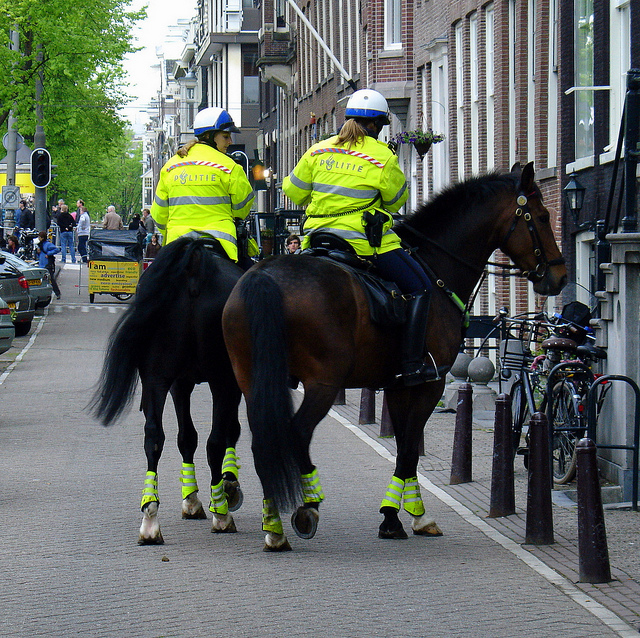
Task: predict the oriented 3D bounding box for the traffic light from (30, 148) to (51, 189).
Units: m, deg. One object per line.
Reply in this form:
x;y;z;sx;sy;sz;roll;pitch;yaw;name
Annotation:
-7.571;-4.114;32.746;0.498;1.027;1.091;-2;8;-15;traffic light

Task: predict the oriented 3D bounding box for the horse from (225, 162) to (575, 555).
0.416;0.304;8.040;1.066;2.636;2.528;6;9;39;horse

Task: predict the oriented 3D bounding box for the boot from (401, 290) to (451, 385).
0.682;0.116;8.070;0.212;0.589;0.454;3;8;28;boot

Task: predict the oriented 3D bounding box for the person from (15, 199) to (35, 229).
-9.847;-3.529;40.416;0.556;0.995;2.214;-2;8;-13;person

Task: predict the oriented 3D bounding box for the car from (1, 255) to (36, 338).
-6.282;-0.422;25.579;1.027;0.994;2.249;-3;7;-15;car

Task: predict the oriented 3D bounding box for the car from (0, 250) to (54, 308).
-7.085;-1.004;29.795;0.958;0.737;2.131;-12;24;-31;car

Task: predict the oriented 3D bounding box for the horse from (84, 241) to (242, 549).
-1.057;0.500;8.254;1.030;2.078;1.497;-1;7;-4;horse

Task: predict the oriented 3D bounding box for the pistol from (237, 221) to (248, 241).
-0.576;-0.662;9.017;0.059;0.144;0.127;3;8;26;pistol

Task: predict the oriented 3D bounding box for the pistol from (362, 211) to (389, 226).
0.390;-0.682;8.106;0.108;0.093;0.272;6;10;38;pistol
